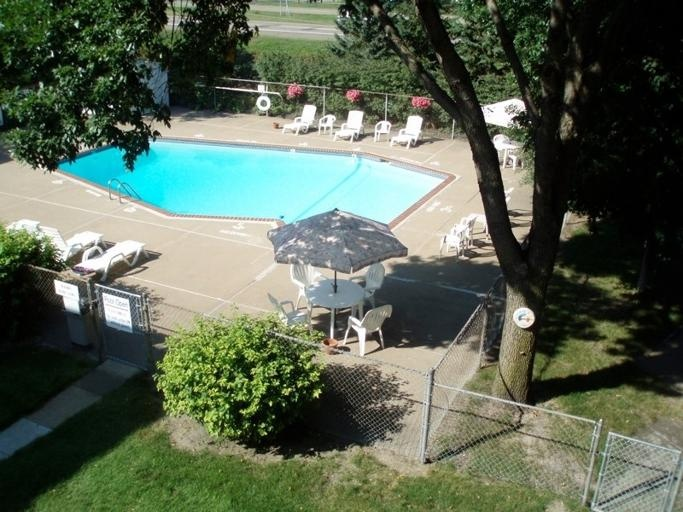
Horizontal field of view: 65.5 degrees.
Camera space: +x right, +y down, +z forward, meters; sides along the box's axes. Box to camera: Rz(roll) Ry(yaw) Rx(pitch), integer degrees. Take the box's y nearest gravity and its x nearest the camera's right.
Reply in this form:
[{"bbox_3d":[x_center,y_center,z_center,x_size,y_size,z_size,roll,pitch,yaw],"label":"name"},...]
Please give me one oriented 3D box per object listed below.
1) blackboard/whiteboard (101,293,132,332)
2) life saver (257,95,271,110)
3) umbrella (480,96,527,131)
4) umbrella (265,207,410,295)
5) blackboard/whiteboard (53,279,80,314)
[{"bbox_3d":[-4.401,1.079,10.452,0.615,0.691,0.073,15,32,19],"label":"blackboard/whiteboard"},{"bbox_3d":[-4.343,-8.521,29.764,0.742,0.967,1.350,-7,23,-19],"label":"life saver"},{"bbox_3d":[5.191,-4.511,17.153,1.199,0.884,5.691,7,22,15],"label":"umbrella"},{"bbox_3d":[-0.119,-0.331,11.305,2.668,0.753,1.851,-1,22,-5],"label":"umbrella"},{"bbox_3d":[-5.457,0.796,10.664,0.631,0.678,0.180,14,20,26],"label":"blackboard/whiteboard"}]
